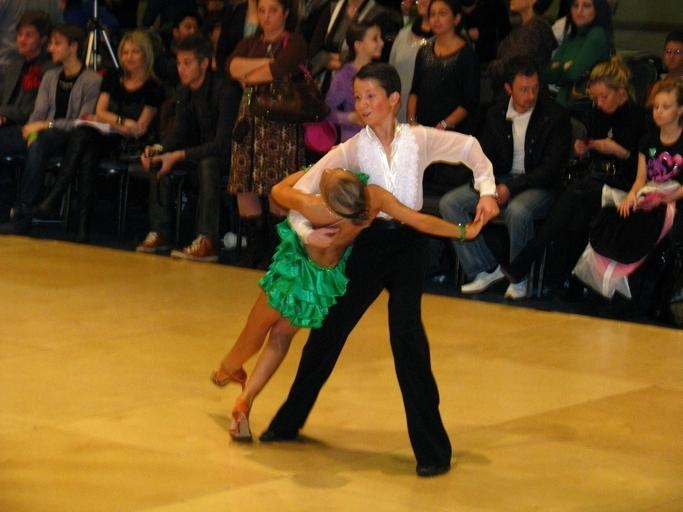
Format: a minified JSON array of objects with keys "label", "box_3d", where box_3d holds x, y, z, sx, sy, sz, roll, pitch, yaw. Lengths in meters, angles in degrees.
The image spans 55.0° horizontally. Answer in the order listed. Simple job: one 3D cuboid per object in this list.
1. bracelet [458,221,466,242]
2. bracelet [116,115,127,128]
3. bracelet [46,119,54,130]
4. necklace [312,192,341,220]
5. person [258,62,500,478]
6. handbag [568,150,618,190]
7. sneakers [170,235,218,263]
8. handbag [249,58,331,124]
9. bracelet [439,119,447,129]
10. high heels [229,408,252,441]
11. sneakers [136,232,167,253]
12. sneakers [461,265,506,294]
[{"label":"bracelet","box_3d":[0.504,-0.089,2.712,0.017,0.054,0.044,1,12,-3]},{"label":"bracelet","box_3d":[-2.099,-1.281,6.240,0.061,0.114,0.049,1,17,-2]},{"label":"bracelet","box_3d":[-2.805,-1.267,6.316,0.049,0.077,0.022,13,-10,0]},{"label":"necklace","box_3d":[-0.061,-0.190,2.638,0.085,0.114,0.083,5,-5,29]},{"label":"person","box_3d":[0.185,0.029,2.839,0.897,1.659,0.580,6,14,19]},{"label":"handbag","box_3d":[2.004,-0.642,5.056,0.476,0.221,0.515,16,12,12]},{"label":"sneakers","box_3d":[-1.215,-0.062,5.601,0.433,0.273,0.176,4,5,-5]},{"label":"handbag","box_3d":[-0.425,-1.270,5.106,0.505,0.577,0.216,5,16,4]},{"label":"bracelet","box_3d":[0.817,-1.054,5.233,0.073,0.027,0.080,12,41,-2]},{"label":"high heels","box_3d":[-0.442,0.758,2.925,0.058,0.080,0.181,1,9,-9]},{"label":"sneakers","box_3d":[-1.662,-0.103,5.910,0.125,0.165,0.361,8,-4,24]},{"label":"sneakers","box_3d":[1.098,0.199,5.126,0.356,0.151,0.166,-30,9,4]}]
